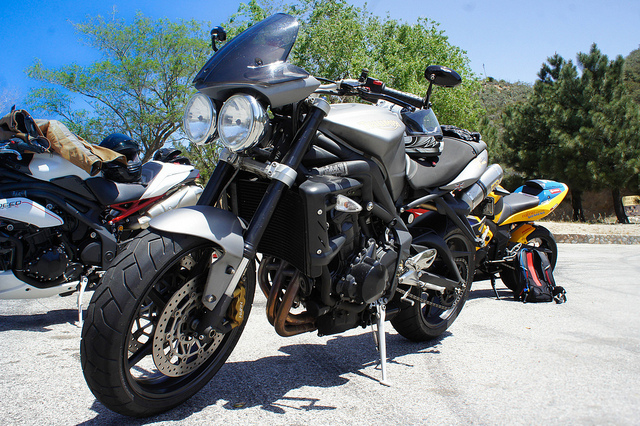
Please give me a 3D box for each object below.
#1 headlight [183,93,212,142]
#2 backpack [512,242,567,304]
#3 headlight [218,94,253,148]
[{"bbox_3d":[-0.898,-0.697,3.225,0.258,0.347,0.084,6,10,28],"label":"headlight"},{"bbox_3d":[2.959,0.836,6.147,0.554,0.793,0.334,-2,-24,-16],"label":"backpack"},{"bbox_3d":[-0.596,-0.648,3.134,0.251,0.369,0.092,1,8,-1],"label":"headlight"}]
